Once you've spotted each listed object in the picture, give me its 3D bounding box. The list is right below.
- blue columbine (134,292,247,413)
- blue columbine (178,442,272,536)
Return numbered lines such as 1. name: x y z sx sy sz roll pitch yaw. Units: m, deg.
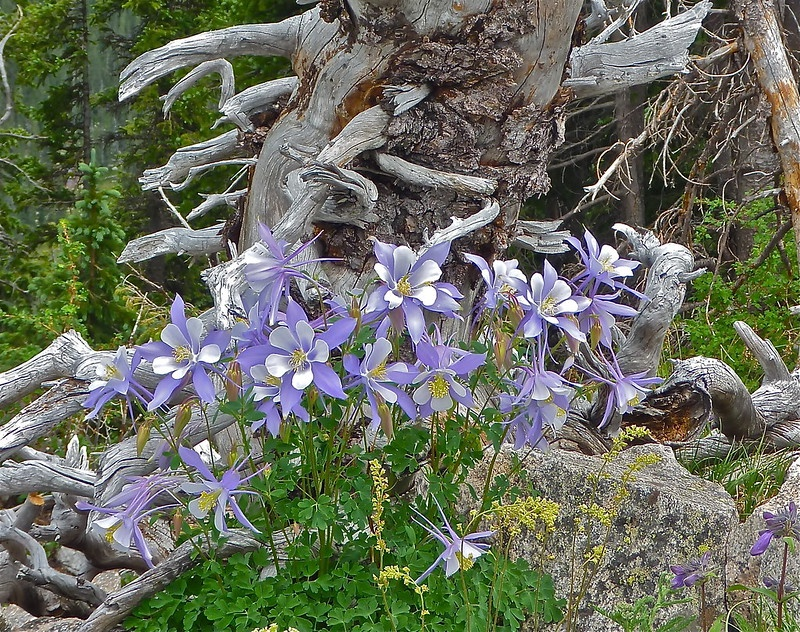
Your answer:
1. blue columbine: -1.281 0.226 8.182 0.576 0.185 0.623 -35 85 6
2. blue columbine: -1.103 1.053 8.298 0.423 0.239 0.678 -34 86 -10
